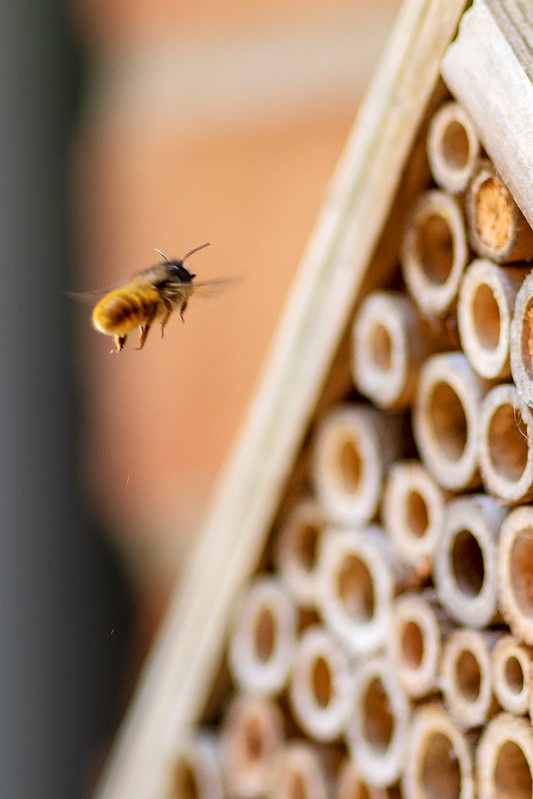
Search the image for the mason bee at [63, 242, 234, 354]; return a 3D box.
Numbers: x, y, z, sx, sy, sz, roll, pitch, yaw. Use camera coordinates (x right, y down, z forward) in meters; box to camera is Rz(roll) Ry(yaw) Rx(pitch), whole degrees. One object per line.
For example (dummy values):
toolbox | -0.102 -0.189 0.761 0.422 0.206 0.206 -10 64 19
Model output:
mason bee | -0.085 -0.085 0.836 0.100 0.094 0.046 -29 106 -25
